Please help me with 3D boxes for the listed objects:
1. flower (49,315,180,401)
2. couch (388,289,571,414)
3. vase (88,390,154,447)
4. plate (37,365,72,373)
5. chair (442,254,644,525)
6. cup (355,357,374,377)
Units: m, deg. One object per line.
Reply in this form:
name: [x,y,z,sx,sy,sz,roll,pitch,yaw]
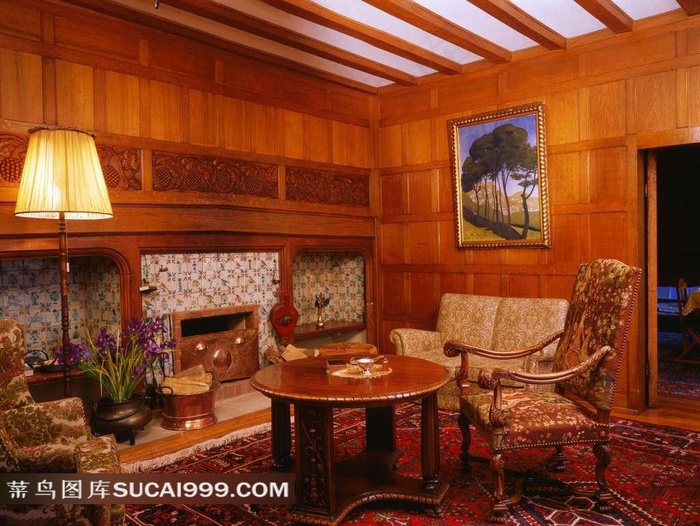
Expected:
flower: [-2.118,0.862,4.645,0.982,0.566,0.847,-3,-2,-23]
couch: [1.433,0.987,5.508,1.058,1.113,1.848,-8,6,-42]
vase: [-2.059,1.397,4.562,0.543,0.381,0.524,-1,-3,-31]
plate: [-2.625,0.944,4.535,0.237,0.048,0.218,0,-4,3]
chair: [1.403,0.822,3.684,1.155,1.629,0.779,-3,4,-7]
cup: [0.111,0.736,3.653,0.113,0.076,0.111,-1,-3,0]
